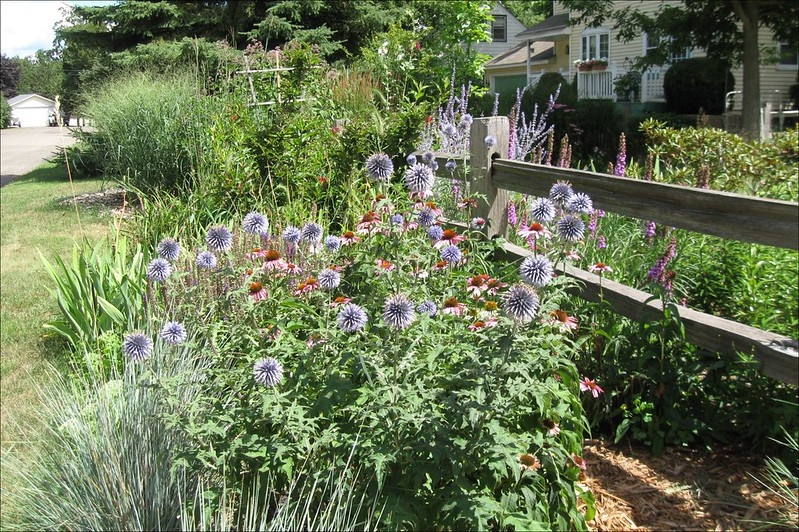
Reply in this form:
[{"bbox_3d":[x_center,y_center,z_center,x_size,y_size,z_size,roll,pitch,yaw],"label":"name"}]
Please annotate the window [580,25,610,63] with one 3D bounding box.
[{"bbox_3d":[1.577,-1.793,4.966,0.021,0.284,0.228,-32,41,-33],"label":"window"}]
